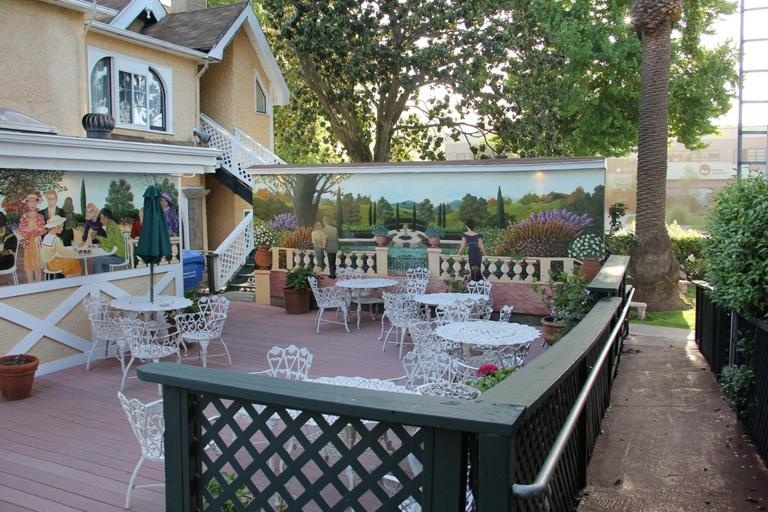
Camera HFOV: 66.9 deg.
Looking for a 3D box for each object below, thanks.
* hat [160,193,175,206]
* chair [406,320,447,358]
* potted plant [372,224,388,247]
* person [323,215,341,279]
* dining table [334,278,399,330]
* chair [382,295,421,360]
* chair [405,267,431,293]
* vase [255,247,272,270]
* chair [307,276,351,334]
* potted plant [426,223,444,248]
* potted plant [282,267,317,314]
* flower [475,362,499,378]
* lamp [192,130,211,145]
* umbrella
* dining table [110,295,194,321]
[{"bbox_3d":[-5.089,-1.338,13.669,0.236,0.324,0.321,4,10,15],"label":"hat"},{"bbox_3d":[0.837,1.492,10.799,0.629,0.925,0.772,-2,1,20],"label":"chair"},{"bbox_3d":[-0.092,-0.573,16.245,0.514,0.704,0.536,0,2,26],"label":"potted plant"},{"bbox_3d":[-1.513,-0.263,16.711,0.411,1.793,0.161,-2,4,-3],"label":"person"},{"bbox_3d":[-0.440,1.223,14.650,1.225,0.844,1.256,3,5,21],"label":"dining table"},{"bbox_3d":[0.346,1.475,13.166,1.107,1.673,1.199,0,4,13],"label":"chair"},{"bbox_3d":[0.864,0.618,14.952,0.659,0.833,0.586,2,-3,-25],"label":"chair"},{"bbox_3d":[-3.675,0.034,17.676,0.603,0.706,0.230,1,5,33],"label":"vase"},{"bbox_3d":[-1.333,1.221,15.080,1.293,1.874,1.229,-1,3,1],"label":"chair"},{"bbox_3d":[1.362,-0.563,15.730,0.512,0.658,0.574,-2,-2,35],"label":"potted plant"},{"bbox_3d":[-2.494,0.960,16.718,1.139,1.629,1.111,0,0,1],"label":"potted plant"},{"bbox_3d":[1.386,1.496,7.738,0.207,0.183,0.208,-3,-1,-24],"label":"flower"},{"bbox_3d":[-6.609,-4.307,20.926,0.729,0.623,0.367,1,5,36],"label":"lamp"},{"bbox_3d":[-4.802,-0.266,12.102,0.633,2.389,1.295,-3,5,-21],"label":"umbrella"},{"bbox_3d":[-4.753,0.981,11.914,0.859,0.293,0.854,-4,10,-34],"label":"dining table"}]
